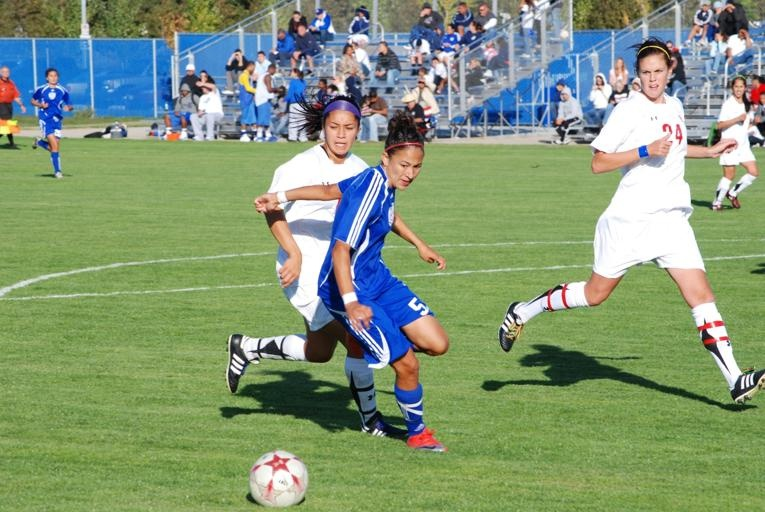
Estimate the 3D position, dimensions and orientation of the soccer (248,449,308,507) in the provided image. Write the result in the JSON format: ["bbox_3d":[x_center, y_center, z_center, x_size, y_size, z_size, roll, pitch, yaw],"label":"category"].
[{"bbox_3d":[-0.984,2.102,12.511,0.526,0.359,0.519,8,13,29],"label":"soccer"}]

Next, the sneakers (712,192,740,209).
[{"bbox_3d":[5.886,-0.952,22.329,0.587,0.233,0.183,-7,29,-1],"label":"sneakers"}]

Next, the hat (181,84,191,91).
[{"bbox_3d":[-5.198,-4.481,34.519,0.141,0.180,0.378,-8,10,-42],"label":"hat"}]

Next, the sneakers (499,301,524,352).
[{"bbox_3d":[1.442,0.773,14.451,0.277,0.561,0.223,19,8,42],"label":"sneakers"}]

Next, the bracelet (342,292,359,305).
[{"bbox_3d":[-0.306,0.420,12.691,0.135,0.092,0.123,-11,-28,-22],"label":"bracelet"}]

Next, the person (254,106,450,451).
[{"bbox_3d":[-0.090,0.258,13.031,1.271,3.367,0.861,-4,8,-19],"label":"person"}]
